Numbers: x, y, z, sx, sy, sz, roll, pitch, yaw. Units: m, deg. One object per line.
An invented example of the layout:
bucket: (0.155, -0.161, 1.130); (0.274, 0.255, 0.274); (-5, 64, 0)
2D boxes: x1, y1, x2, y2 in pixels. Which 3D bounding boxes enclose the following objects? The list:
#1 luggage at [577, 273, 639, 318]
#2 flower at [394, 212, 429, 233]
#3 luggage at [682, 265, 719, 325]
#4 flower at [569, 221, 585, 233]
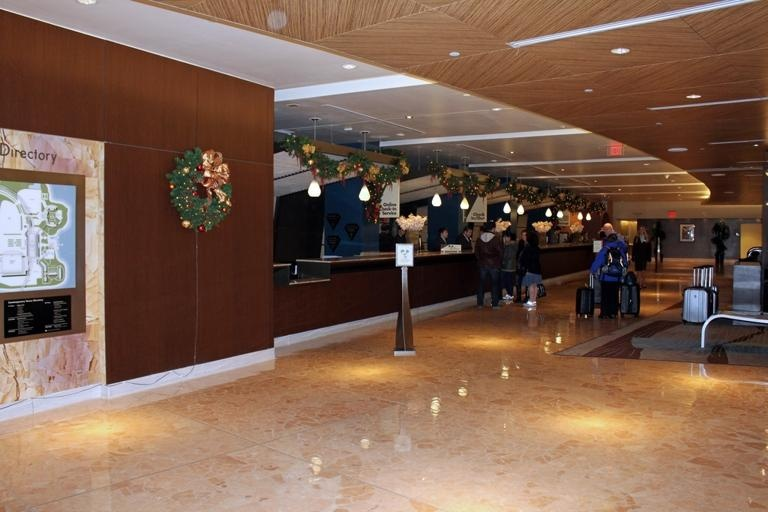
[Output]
luggage: (5.296, 0.895, 12.249); (1.361, 0.971, 0.912); (0, 5, 19)
flower: (0.922, -1.082, 16.936); (1.253, 0.795, 1.223); (-3, 5, -35)
luggage: (6.606, 0.808, 10.780); (0.608, 1.159, 1.051); (1, 5, 31)
flower: (10.262, -1.531, 27.521); (1.087, 0.541, 0.896); (3, 2, 26)
